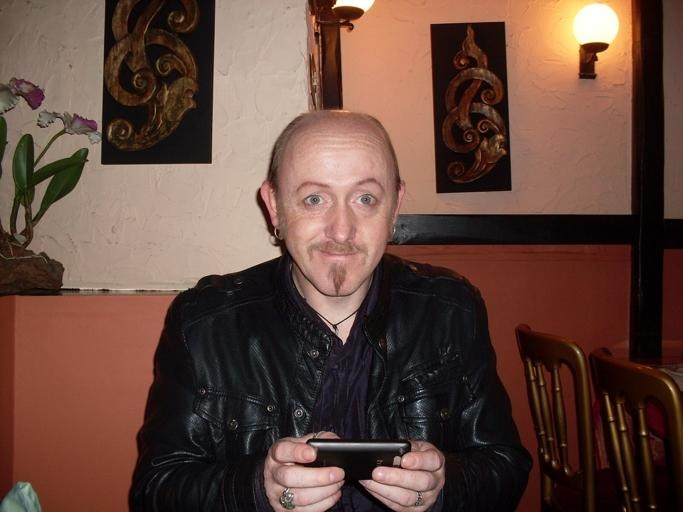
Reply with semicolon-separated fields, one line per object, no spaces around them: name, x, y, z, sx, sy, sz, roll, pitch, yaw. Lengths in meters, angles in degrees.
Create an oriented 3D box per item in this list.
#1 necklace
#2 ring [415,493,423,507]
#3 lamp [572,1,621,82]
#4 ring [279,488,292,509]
necklace;-0.057;0.160;2.609;0.195;0.307;0.070;-2;1;-7
ring;0.260;0.820;2.206;0.017;0.052;0.035;-2;-5;45
lamp;1.571;-1.365;4.052;0.244;0.476;0.350;-1;-4;30
ring;-0.179;0.798;2.159;0.041;0.063;0.021;-4;3;40
